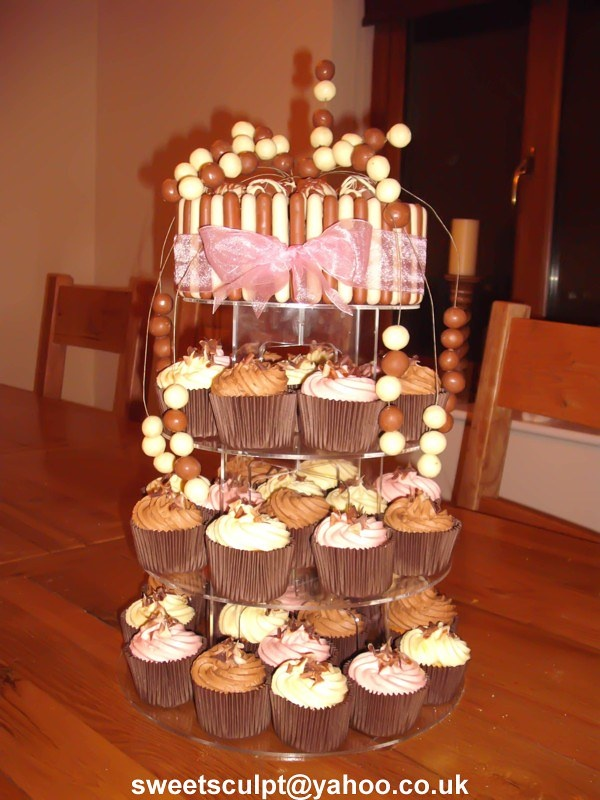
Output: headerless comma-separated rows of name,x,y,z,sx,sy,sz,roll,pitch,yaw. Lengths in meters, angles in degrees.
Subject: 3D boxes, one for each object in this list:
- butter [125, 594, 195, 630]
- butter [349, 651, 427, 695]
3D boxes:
butter,-0.181,0.253,0.913,0.057,0.017,0.057,11,16,37
butter,0.095,0.304,0.812,0.048,0.015,0.045,6,11,15
